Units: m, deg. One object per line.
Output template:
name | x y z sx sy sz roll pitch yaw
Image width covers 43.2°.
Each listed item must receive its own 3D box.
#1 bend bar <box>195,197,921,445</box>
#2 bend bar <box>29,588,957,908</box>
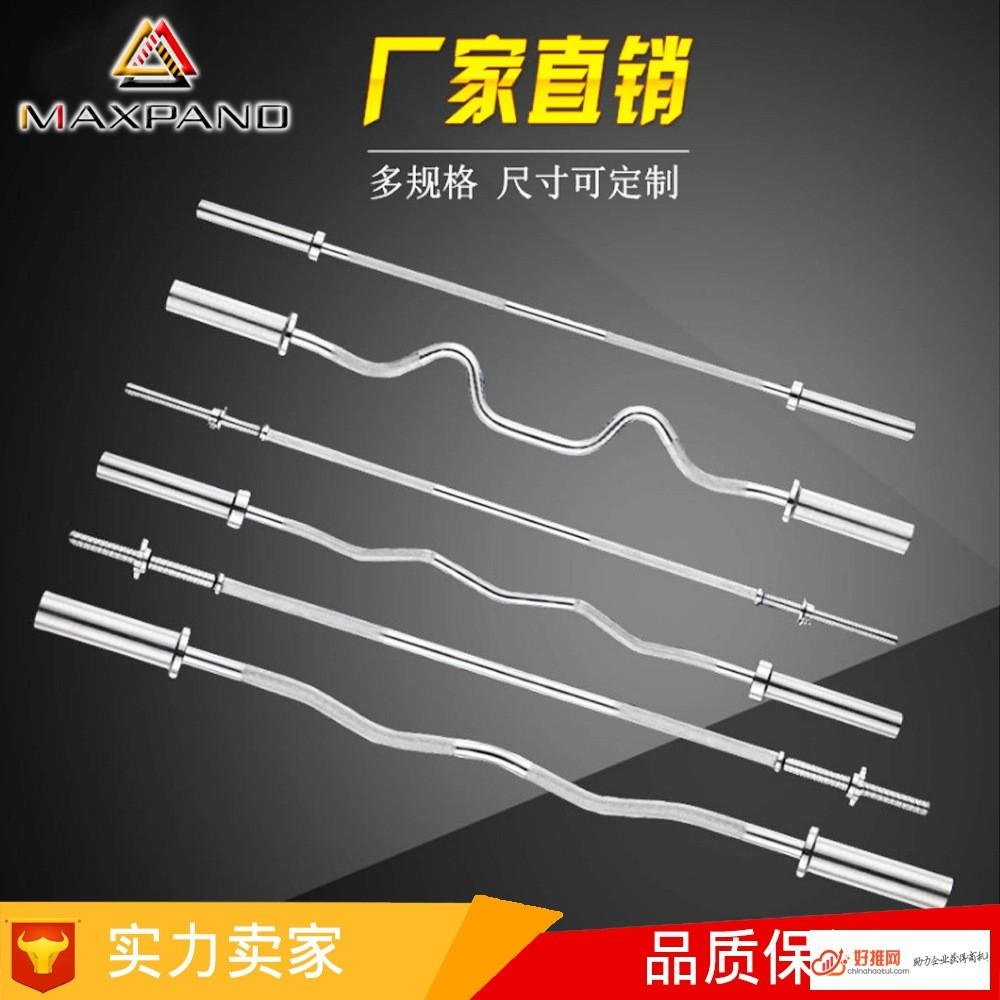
bend bar | 0.159 -0.324 2.320 1.016 0.076 0.088 20 17 2
bend bar | -0.008 0.473 2.279 1.367 0.115 0.164 16 59 8
